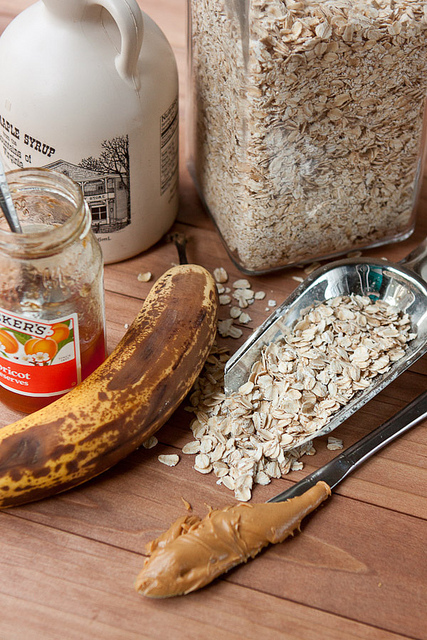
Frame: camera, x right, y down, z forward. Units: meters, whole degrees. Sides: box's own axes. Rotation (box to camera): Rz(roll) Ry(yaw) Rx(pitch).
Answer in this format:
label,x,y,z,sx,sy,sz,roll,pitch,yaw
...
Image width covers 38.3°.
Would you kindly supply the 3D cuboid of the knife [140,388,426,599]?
label,x,y,z,sx,sy,sz,roll,pitch,yaw
knife,0.102,0.135,0.591,0.391,0.039,0.076,-19,38,-40
